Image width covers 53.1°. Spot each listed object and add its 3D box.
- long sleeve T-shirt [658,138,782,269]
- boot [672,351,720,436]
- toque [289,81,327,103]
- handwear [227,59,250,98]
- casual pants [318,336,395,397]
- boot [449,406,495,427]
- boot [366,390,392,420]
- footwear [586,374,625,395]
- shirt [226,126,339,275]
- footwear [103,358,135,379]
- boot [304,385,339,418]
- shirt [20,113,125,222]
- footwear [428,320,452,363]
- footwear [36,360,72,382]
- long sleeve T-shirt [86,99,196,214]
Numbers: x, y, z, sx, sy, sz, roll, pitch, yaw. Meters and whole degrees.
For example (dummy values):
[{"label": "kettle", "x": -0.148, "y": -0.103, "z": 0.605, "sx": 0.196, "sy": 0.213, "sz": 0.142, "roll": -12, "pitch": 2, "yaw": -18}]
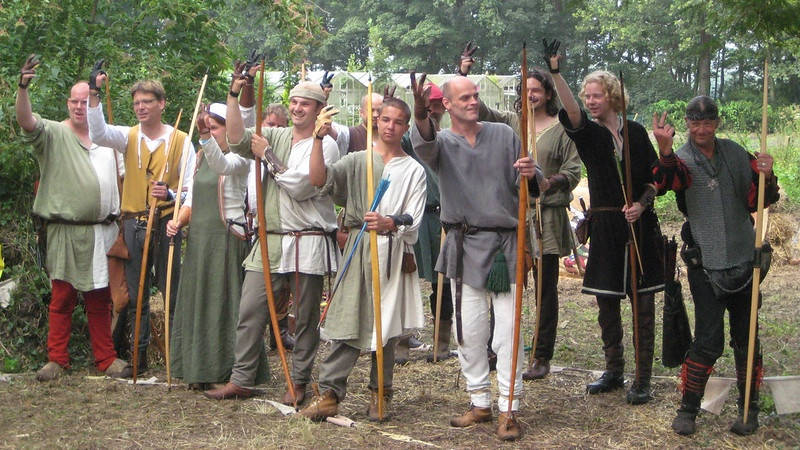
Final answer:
[{"label": "long sleeve T-shirt", "x": 3.425, "y": -0.230, "z": 8.523, "sx": 1.613, "sy": 1.348, "sz": 0.808, "roll": -5, "pitch": -3, "yaw": -12}, {"label": "boot", "x": 3.082, "y": 1.811, "z": 8.544, "sx": 0.426, "sy": 0.800, "sz": 0.302, "roll": -2, "pitch": 3, "yaw": 0}, {"label": "toque", "x": -1.002, "y": -1.459, "z": 8.772, "sx": 0.302, "sy": 0.156, "sz": 0.286, "roll": 4, "pitch": 3, "yaw": 1}, {"label": "handwear", "x": -1.763, "y": -1.596, "z": 8.753, "sx": 0.217, "sy": 0.417, "sz": 0.230, "roll": -3, "pitch": 3, "yaw": -11}, {"label": "casual pants", "x": -0.464, "y": 1.566, "z": 8.811, "sx": 0.735, "sy": 0.613, "sz": 0.255, "roll": 19, "pitch": -1, "yaw": -17}, {"label": "boot", "x": 0.752, "y": 2.049, "z": 8.583, "sx": 0.503, "sy": 0.296, "sz": 0.180, "roll": 2, "pitch": -4, "yaw": 1}, {"label": "boot", "x": -0.258, "y": 1.931, "z": 8.734, "sx": 0.196, "sy": 0.285, "sz": 0.395, "roll": 2, "pitch": 20, "yaw": 3}, {"label": "footwear", "x": 2.369, "y": 1.821, "z": 9.172, "sx": 0.546, "sy": 0.216, "sz": 0.181, "roll": -1, "pitch": 0, "yaw": -14}, {"label": "shirt", "x": -1.326, "y": -0.305, "z": 9.057, "sx": 1.509, "sy": 1.938, "sz": 1.025, "roll": 7, "pitch": -4, "yaw": -14}, {"label": "footwear", "x": -3.390, "y": 1.732, "z": 9.653, "sx": 0.260, "sy": 0.112, "sz": 0.206, "roll": 9, "pitch": 9, "yaw": 31}, {"label": "boot", "x": -0.898, "y": 1.931, "z": 8.595, "sx": 0.440, "sy": 0.270, "sz": 0.148, "roll": 8, "pitch": -10, "yaw": -31}, {"label": "shirt", "x": -3.876, "y": -0.687, "z": 9.532, "sx": 0.769, "sy": 1.209, "sz": 1.383, "roll": -7, "pitch": -10, "yaw": 41}, {"label": "footwear", "x": 0.558, "y": 1.487, "z": 10.304, "sx": 0.306, "sy": 0.601, "sz": 0.544, "roll": 5, "pitch": -7, "yaw": 17}, {"label": "footwear", "x": -4.115, "y": 1.725, "z": 9.458, "sx": 0.346, "sy": 0.202, "sz": 0.216, "roll": -3, "pitch": 2, "yaw": -24}, {"label": "long sleeve T-shirt", "x": -3.148, "y": -0.772, "z": 9.609, "sx": 1.395, "sy": 1.295, "sz": 0.790, "roll": -9, "pitch": 29, "yaw": -18}]
